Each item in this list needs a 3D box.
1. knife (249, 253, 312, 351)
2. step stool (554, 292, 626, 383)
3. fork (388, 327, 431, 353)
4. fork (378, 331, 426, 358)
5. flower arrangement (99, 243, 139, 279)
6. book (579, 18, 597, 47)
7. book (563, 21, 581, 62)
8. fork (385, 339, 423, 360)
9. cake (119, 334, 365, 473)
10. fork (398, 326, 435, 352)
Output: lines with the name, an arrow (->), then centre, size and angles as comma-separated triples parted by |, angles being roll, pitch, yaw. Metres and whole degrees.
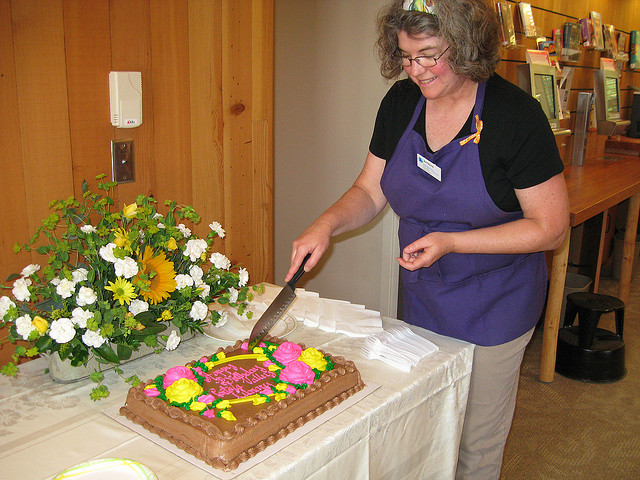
knife -> -0.137, 0.207, 1.583 | 0.319, 0.044, 0.027 | -57, 17, -12
step stool -> 1.699, 0.570, 3.069 | 0.465, 0.523, 0.482 | -7, 12, -43
fork -> 0.257, 0.283, 1.375 | 0.041, 0.016, 0.146 | -38, 36, -21
fork -> 0.230, 0.295, 1.350 | 0.045, 0.014, 0.166 | -24, 43, -38
flower arrangement -> -0.499, 0.055, 1.187 | 0.090, 0.088, 0.061 | 3, 17, 20
book -> 2.201, -1.672, 3.891 | 0.091, 0.286, 0.189 | -2, 31, 43
book -> 1.982, -1.542, 3.738 | 0.265, 0.284, 0.090 | -14, 19, -38
fork -> 0.236, 0.305, 1.346 | 0.117, 0.014, 0.022 | 30, 10, 14
cake -> -0.176, 0.351, 1.134 | 0.389, 0.102, 0.477 | 11, 22, 39
fork -> 0.281, 0.293, 1.387 | 0.092, 0.008, 0.012 | 33, 69, 33
